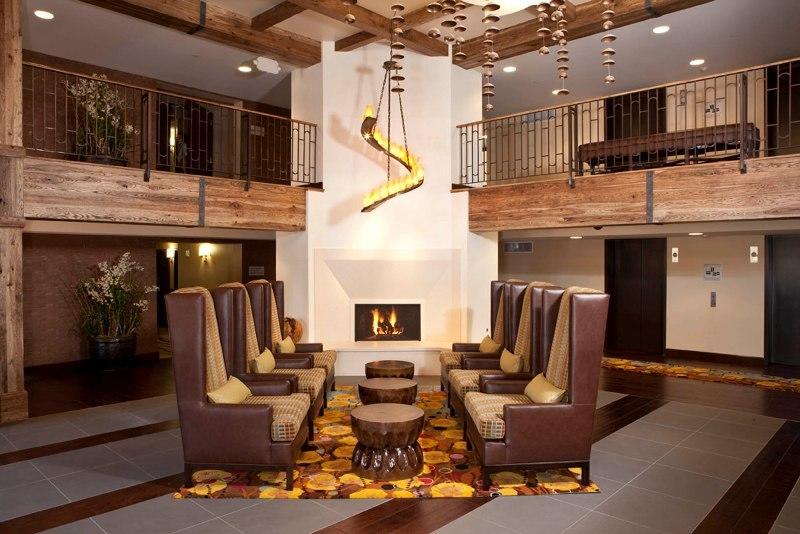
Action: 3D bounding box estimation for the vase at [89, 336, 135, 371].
[{"bbox_3d":[-5.739,1.753,11.256,0.864,0.585,0.876,0,-6,-12],"label":"vase"}]

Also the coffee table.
[{"bbox_3d":[-0.176,2.212,7.882,1.049,0.825,3.715,0,-3,0],"label":"coffee table"}]

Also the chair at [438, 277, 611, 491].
[{"bbox_3d":[1.744,1.464,7.557,1.676,2.436,1.631,-1,12,-3],"label":"chair"}]

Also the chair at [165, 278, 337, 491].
[{"bbox_3d":[-1.816,1.622,8.552,2.488,3.036,2.303,0,-1,-4],"label":"chair"}]
